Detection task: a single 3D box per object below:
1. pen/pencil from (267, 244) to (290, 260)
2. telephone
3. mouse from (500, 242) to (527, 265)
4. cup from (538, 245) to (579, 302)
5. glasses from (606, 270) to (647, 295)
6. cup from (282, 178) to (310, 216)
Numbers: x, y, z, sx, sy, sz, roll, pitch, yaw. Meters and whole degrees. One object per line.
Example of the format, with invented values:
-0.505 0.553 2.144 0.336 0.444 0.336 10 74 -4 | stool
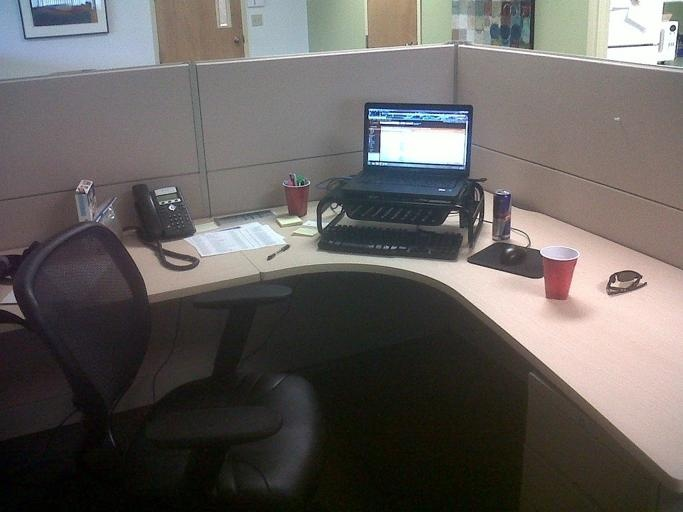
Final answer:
-0.221 -0.013 1.770 0.027 0.022 0.127 12 29 30 | pen/pencil
-0.669 -0.174 1.915 0.179 0.083 0.228 -24 65 -32 | telephone
0.554 -0.002 1.617 0.069 0.061 0.063 7 1 -43 | mouse
0.602 0.046 1.475 0.129 0.156 0.138 -2 16 0 | cup
0.819 0.078 1.439 0.094 0.035 0.073 -16 41 -11 | glasses
-0.176 -0.246 2.040 0.120 0.131 0.129 0 16 0 | cup
